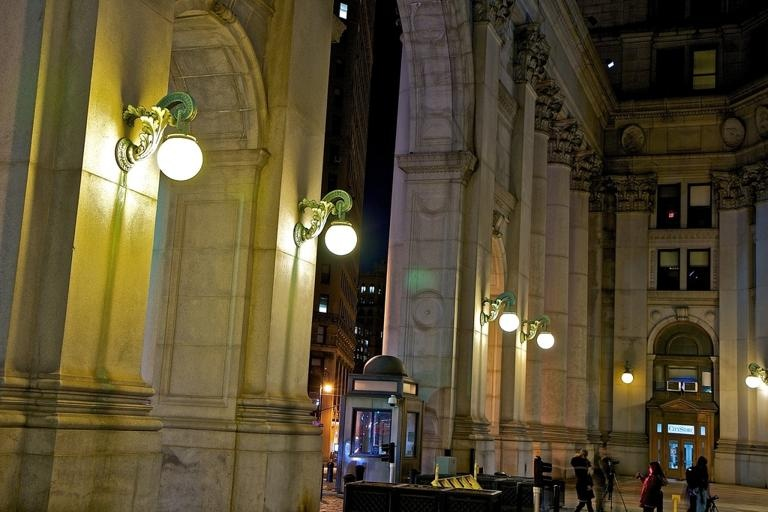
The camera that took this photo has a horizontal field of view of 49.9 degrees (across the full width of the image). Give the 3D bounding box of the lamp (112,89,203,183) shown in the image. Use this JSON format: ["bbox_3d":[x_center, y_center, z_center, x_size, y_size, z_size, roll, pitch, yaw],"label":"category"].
[{"bbox_3d":[-3.325,-1.766,12.365,1.165,1.653,0.676,-9,-33,3],"label":"lamp"}]

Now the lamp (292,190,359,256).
[{"bbox_3d":[-1.126,-0.629,15.458,1.270,1.196,0.671,-4,-12,25],"label":"lamp"}]

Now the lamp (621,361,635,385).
[{"bbox_3d":[12.433,5.899,42.219,0.670,1.140,0.692,-1,-14,16],"label":"lamp"}]

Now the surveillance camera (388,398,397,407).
[{"bbox_3d":[0.186,3.581,20.361,0.200,0.289,0.276,-2,-8,6],"label":"surveillance camera"}]
